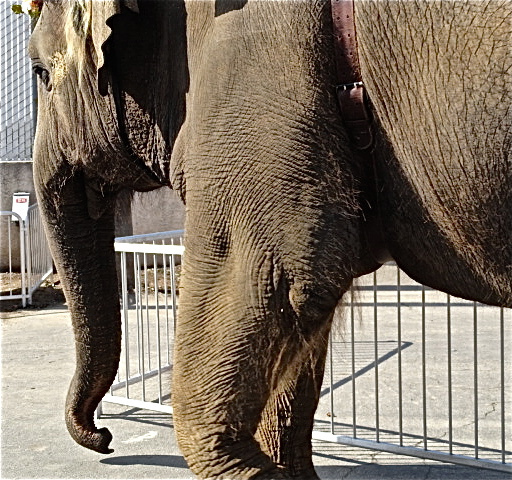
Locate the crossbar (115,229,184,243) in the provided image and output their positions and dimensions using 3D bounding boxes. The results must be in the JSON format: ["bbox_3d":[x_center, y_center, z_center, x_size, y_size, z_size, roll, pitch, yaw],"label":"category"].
[{"bbox_3d":[-0.843,-0.034,7.970,0.715,0.069,0.074,-7,4,-19],"label":"crossbar"}]
